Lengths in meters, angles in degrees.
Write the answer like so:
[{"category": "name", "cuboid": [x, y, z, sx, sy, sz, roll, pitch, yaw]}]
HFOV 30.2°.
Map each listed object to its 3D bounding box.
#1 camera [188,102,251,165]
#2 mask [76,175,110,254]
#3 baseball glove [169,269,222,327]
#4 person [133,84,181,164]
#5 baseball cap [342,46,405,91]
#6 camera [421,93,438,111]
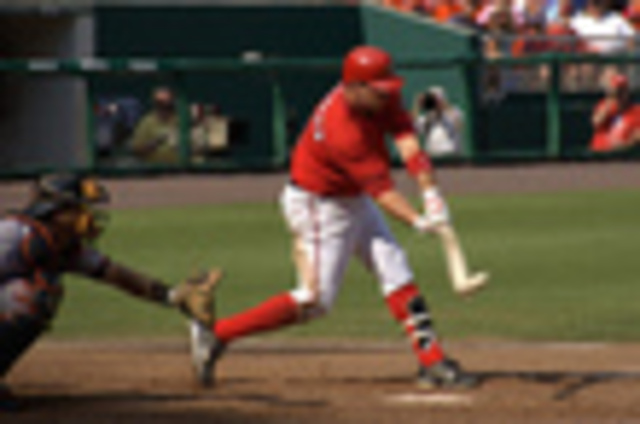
[{"category": "camera", "cuboid": [-1.268, -1.018, 15.507, 0.997, 0.569, 0.501, 1, -5, 19]}, {"category": "mask", "cuboid": [-2.093, -0.028, 10.160, 0.623, 0.577, 0.453, -1, -1, -3]}, {"category": "baseball glove", "cuboid": [-1.064, 0.733, 10.322, 0.383, 0.519, 0.550, 1, -3, -7]}, {"category": "person", "cuboid": [-2.110, -1.131, 15.302, 0.601, 0.973, 0.298, -1, 7, -9]}, {"category": "baseball cap", "cuboid": [0.447, -1.232, 10.158, 0.507, 0.371, 0.266, 0, 7, 0]}, {"category": "camera", "cuboid": [1.512, -1.539, 16.409, 0.203, 0.213, 0.212, 0, 2, 13]}]
